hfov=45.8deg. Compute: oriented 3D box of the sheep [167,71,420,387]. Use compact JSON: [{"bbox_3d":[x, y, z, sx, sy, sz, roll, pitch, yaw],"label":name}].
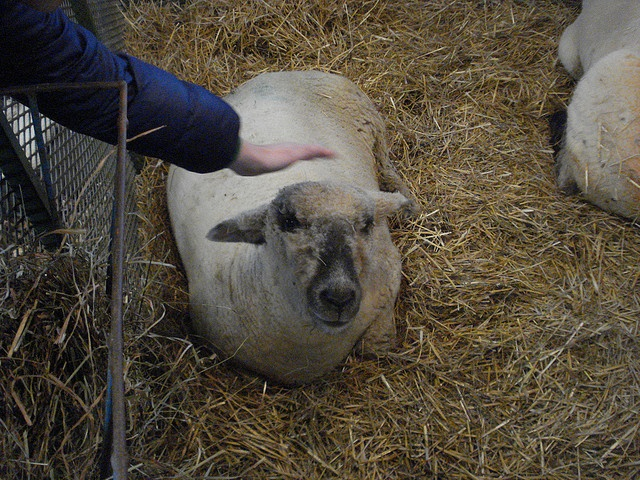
[{"bbox_3d":[-0.254,-0.178,5.073,1.481,1.282,2.087,-8,60,-1],"label":"sheep"}]
